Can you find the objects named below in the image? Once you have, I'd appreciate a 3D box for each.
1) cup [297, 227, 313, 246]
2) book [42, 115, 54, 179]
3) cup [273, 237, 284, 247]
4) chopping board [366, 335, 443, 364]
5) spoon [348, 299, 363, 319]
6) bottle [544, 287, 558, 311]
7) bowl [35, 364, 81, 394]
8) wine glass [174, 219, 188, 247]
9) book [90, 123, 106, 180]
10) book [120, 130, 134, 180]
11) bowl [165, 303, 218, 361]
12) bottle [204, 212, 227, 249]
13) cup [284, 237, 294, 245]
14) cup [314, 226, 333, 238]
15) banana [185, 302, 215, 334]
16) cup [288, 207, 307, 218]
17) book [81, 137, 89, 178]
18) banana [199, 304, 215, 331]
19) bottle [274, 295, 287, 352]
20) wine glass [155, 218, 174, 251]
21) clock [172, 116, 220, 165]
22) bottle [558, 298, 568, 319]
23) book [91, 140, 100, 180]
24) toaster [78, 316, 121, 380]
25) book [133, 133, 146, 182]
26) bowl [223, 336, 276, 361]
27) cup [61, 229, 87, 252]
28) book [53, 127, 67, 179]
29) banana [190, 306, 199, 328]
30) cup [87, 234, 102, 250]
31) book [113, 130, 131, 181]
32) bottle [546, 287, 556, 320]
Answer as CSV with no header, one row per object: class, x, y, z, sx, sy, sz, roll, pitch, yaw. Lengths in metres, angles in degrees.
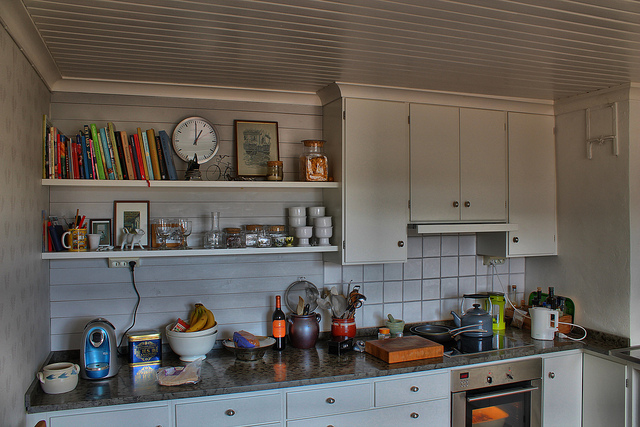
cup,-0.117,0.168,3.670,0.138,0.127,0.130,0,-2,0
book,-1.839,-0.445,3.290,0.058,0.435,0.219,-1,-2,-23
cup,-0.304,0.210,3.613,0.078,0.065,0.035,1,3,2
chopping board,0.623,0.998,3.563,0.471,0.076,0.331,-1,-1,-26
spoon,0.276,0.715,3.725,0.077,0.180,0.037,26,-2,-29
bottle,1.952,0.710,4.081,0.087,0.128,0.124,-2,-1,3
bowl,-1.662,1.048,3.098,0.256,0.131,0.199,-24,-28,14
wine glass,-0.983,0.144,3.434,0.081,0.198,0.089,-2,-2,10
book,-1.510,-0.421,3.314,0.097,0.380,0.053,-3,-2,28
book,-1.335,-0.391,3.358,0.038,0.252,0.349,-12,7,-14
bowl,-0.926,0.930,3.522,0.363,0.216,0.351,-2,0,0
bottle,-0.759,0.120,3.541,0.156,0.258,0.123,-1,-2,-16
cup,-0.230,0.209,3.663,0.061,0.040,0.057,1,2,0
cup,0.038,0.145,3.653,0.104,0.050,0.083,3,-5,-33
banana,-0.853,0.758,3.502,0.131,0.200,0.118,0,-16,35
cup,-0.180,-0.014,3.682,0.076,0.044,0.092,-3,-7,29
book,-1.595,-0.384,3.298,0.044,0.275,0.010,-2,-2,-8
banana,-0.795,0.749,3.464,0.071,0.176,0.045,9,-28,-25
bottle,-0.299,0.870,3.608,0.079,0.313,0.052,-2,-2,-12
wine glass,-1.117,0.146,3.434,0.165,0.224,0.144,4,4,-1
clock,-0.934,-0.545,3.598,0.446,0.414,0.058,0,-2,-17
bottle,2.016,0.777,4.039,0.092,0.111,0.047,-1,-2,-41
book,-1.531,-0.368,3.329,0.043,0.273,0.039,-6,6,23
toaster,-1.448,0.915,3.397,0.284,0.379,0.391,1,-5,-23
book,-1.259,-0.395,3.374,0.072,0.316,0.021,-2,-2,1
bowl,-0.466,0.976,3.487,0.213,0.055,0.196,0,0,0
cup,-1.715,0.181,3.286,0.125,0.157,0.198,3,2,43
book,-1.764,-0.407,3.260,0.022,0.338,0.046,-2,-2,5
banana,-0.894,0.752,3.494,0.027,0.118,0.043,21,-23,14
cup,-1.559,0.196,3.353,0.100,0.096,0.098,2,3,0
book,-1.364,-0.399,3.355,0.070,0.266,0.284,-8,11,-18
bottle,1.942,0.708,4.083,0.074,0.154,0.194,-3,-2,25
